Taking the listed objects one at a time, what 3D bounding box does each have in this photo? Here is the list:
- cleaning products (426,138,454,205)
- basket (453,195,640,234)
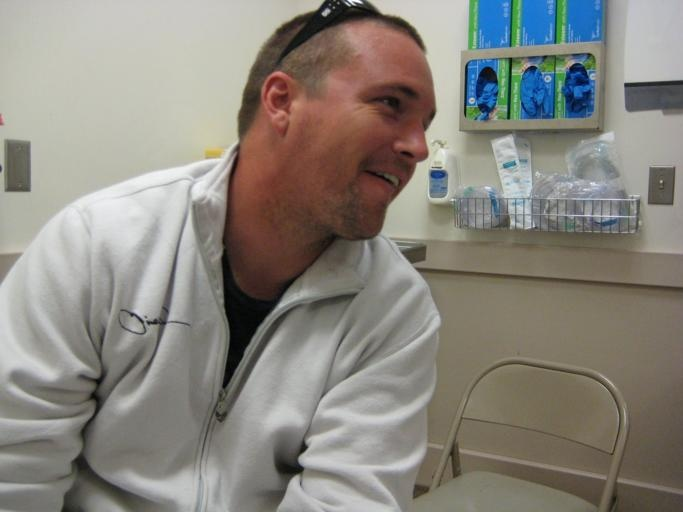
[{"bbox_3d":[0.431,-0.363,2.485,0.111,0.280,0.118,2,1,34],"label":"cleaning products"},{"bbox_3d":[0.820,-0.173,2.325,0.705,0.151,0.153,1,6,27],"label":"basket"}]
